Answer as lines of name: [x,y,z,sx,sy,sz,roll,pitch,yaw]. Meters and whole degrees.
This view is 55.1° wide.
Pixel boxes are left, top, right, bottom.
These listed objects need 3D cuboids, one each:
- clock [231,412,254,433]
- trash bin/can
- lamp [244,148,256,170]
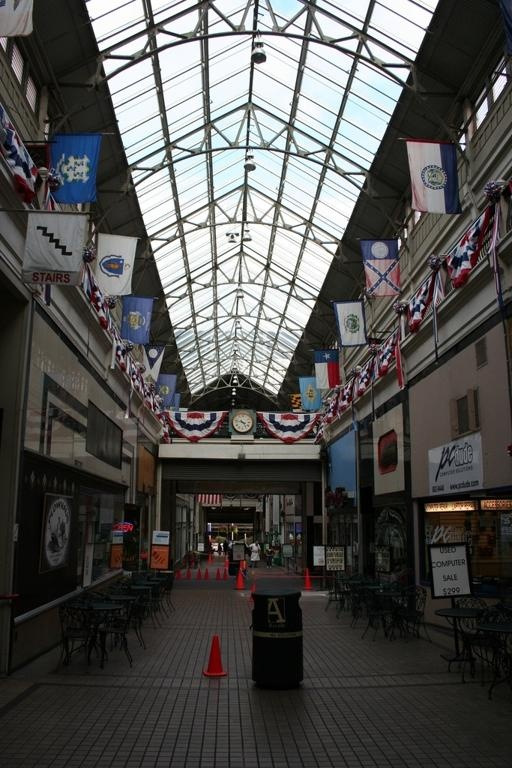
clock: [-0.752,2.161,26.987,0.886,1.223,0.212,-1,-6,-2]
trash bin/can: [0.238,2.842,5.392,0.557,1.020,0.520,-1,-15,-1]
lamp: [-0.235,-8.885,19.322,0.452,1.560,0.420,28,-64,-13]
